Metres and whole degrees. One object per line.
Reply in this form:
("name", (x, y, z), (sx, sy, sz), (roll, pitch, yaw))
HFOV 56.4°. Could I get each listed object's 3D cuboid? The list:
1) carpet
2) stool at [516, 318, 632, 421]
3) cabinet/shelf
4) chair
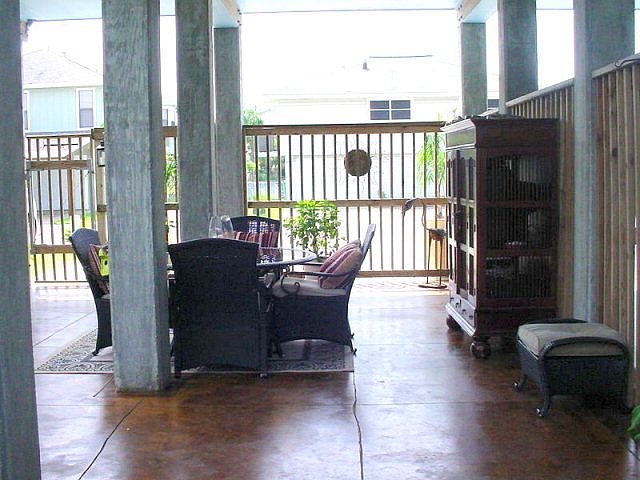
("carpet", (-0.576, 0.588, 3.037), (1.467, 0.176, 0.608), (-2, 3, -5))
("stool", (1.075, 0.514, 2.491), (0.292, 0.263, 0.438), (0, 5, 5))
("cabinet/shelf", (0.909, -0.032, 2.993), (0.566, 1.168, 0.355), (-1, 4, 22))
("chair", (-0.356, 0.189, 3.177), (1.101, 0.551, 0.880), (-1, 7, -4))
